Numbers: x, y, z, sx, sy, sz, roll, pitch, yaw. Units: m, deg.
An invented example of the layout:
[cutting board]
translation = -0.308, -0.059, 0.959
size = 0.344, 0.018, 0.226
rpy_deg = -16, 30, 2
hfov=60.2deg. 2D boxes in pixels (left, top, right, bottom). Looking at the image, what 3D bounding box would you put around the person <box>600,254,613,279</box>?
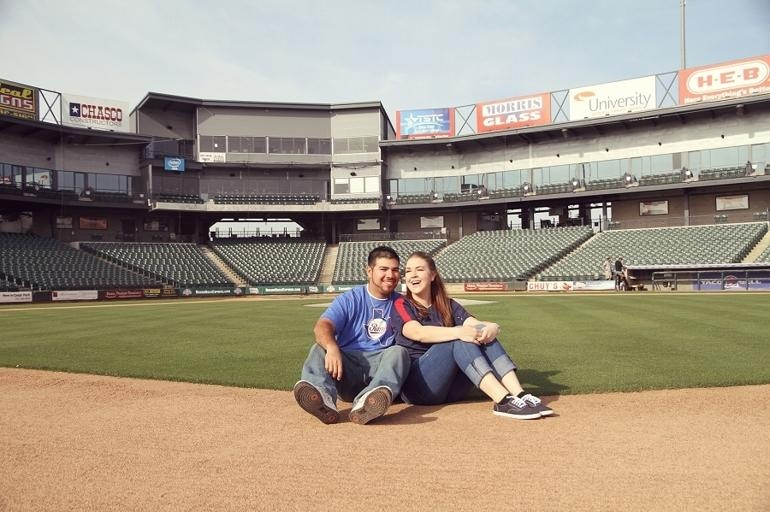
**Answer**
[person]
translation = 12.392, 0.697, 36.992
size = 0.577, 1.089, 2.714
rpy_deg = -1, 1, 18
